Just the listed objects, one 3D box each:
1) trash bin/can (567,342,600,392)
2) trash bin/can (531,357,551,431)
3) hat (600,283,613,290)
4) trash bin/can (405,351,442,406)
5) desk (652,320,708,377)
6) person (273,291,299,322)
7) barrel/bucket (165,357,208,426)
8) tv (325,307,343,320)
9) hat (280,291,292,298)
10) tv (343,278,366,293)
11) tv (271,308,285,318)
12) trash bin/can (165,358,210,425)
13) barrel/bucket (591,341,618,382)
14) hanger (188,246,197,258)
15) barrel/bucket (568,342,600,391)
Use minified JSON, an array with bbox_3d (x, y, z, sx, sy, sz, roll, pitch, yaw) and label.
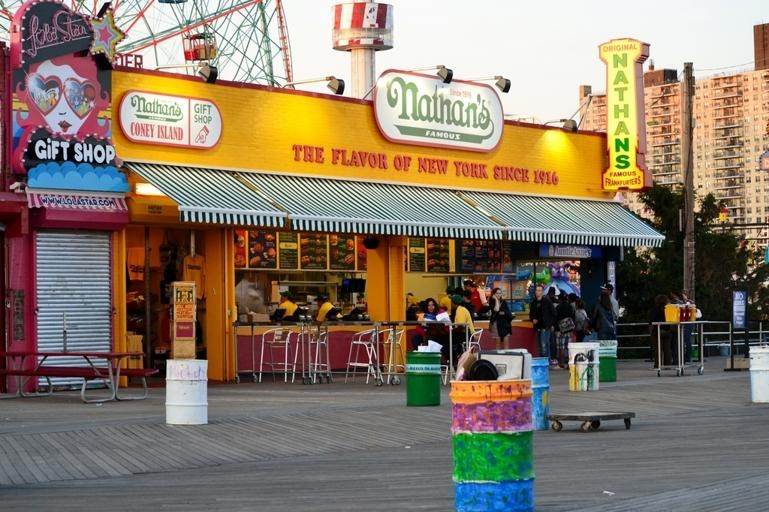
[{"bbox_3d":[4.127,2.314,25.838,0.675,0.970,0.608,1,-2,-12],"label":"trash bin/can"},{"bbox_3d":[2.646,2.310,20.961,0.263,1.180,0.524,-2,-3,9],"label":"trash bin/can"},{"bbox_3d":[5.927,0.794,32.682,0.281,0.112,0.200,8,-2,-11],"label":"hat"},{"bbox_3d":[0.735,2.297,23.416,0.638,1.031,0.536,-1,-3,-1],"label":"trash bin/can"},{"bbox_3d":[7.401,2.272,31.224,1.265,1.302,4.150,-2,-3,13],"label":"desk"},{"bbox_3d":[-2.374,1.191,29.852,0.640,0.689,1.426,-1,-3,-4],"label":"person"},{"bbox_3d":[-3.352,2.299,21.270,0.771,1.130,0.760,0,-4,0],"label":"barrel/bucket"},{"bbox_3d":[-1.239,1.430,30.259,0.248,0.427,0.442,-4,-5,30],"label":"tv"},{"bbox_3d":[-2.352,0.923,30.127,0.168,0.177,0.225,-1,-2,-42],"label":"hat"},{"bbox_3d":[-0.840,0.779,33.763,0.596,0.388,0.264,-1,-3,-3],"label":"tv"},{"bbox_3d":[-2.573,1.397,30.072,0.273,0.293,0.290,6,3,1],"label":"tv"},{"bbox_3d":[-3.368,2.298,21.274,0.742,1.119,0.767,-3,-5,42],"label":"trash bin/can"},{"bbox_3d":[5.019,2.394,28.269,0.529,0.825,0.544,2,1,0],"label":"barrel/bucket"},{"bbox_3d":[-4.546,-0.105,29.625,0.207,0.272,0.055,-3,-4,36],"label":"hanger"},{"bbox_3d":[4.128,2.264,25.591,0.625,0.997,0.482,-1,-3,-3],"label":"barrel/bucket"}]
